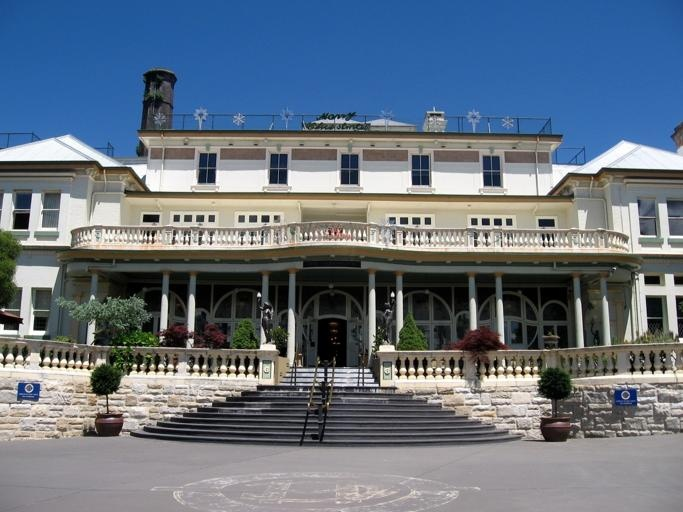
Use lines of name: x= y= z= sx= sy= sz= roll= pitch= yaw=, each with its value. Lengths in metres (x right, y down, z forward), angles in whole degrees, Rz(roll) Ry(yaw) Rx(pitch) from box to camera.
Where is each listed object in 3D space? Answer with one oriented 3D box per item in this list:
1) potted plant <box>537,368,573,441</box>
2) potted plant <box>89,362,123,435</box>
potted plant: x=7.118 y=4.963 z=21.378 sx=1.032 sy=2.405 sz=1.693 roll=-5 pitch=-13 yaw=23
potted plant: x=-7.959 y=4.921 z=21.698 sx=1.100 sy=2.366 sz=1.261 roll=5 pitch=-13 yaw=-23
